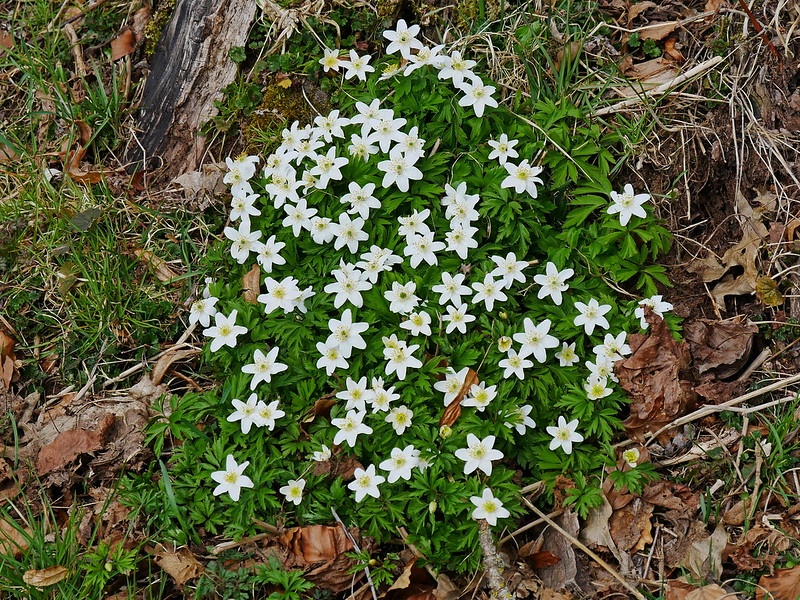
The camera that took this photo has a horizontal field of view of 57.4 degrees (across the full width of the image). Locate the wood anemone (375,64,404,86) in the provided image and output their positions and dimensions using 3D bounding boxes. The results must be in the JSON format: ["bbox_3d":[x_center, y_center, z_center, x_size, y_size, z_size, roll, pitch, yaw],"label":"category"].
[{"bbox_3d":[-0.059,-1.806,5.793,0.141,0.069,0.136,-28,27,12],"label":"wood anemone"}]

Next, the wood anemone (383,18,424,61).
[{"bbox_3d":[0.038,-2.053,5.765,0.310,0.113,0.320,-9,57,-25],"label":"wood anemone"}]

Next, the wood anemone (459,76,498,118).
[{"bbox_3d":[0.594,-1.597,5.565,0.300,0.103,0.292,-8,36,-31],"label":"wood anemone"}]

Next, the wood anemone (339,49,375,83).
[{"bbox_3d":[-0.336,-1.870,5.939,0.285,0.222,0.273,9,-9,6],"label":"wood anemone"}]

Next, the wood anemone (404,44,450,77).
[{"bbox_3d":[0.200,-1.793,5.636,0.243,0.096,0.271,-20,32,24],"label":"wood anemone"}]

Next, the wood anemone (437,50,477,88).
[{"bbox_3d":[0.430,-1.759,5.577,0.241,0.092,0.291,-8,73,-10],"label":"wood anemone"}]
